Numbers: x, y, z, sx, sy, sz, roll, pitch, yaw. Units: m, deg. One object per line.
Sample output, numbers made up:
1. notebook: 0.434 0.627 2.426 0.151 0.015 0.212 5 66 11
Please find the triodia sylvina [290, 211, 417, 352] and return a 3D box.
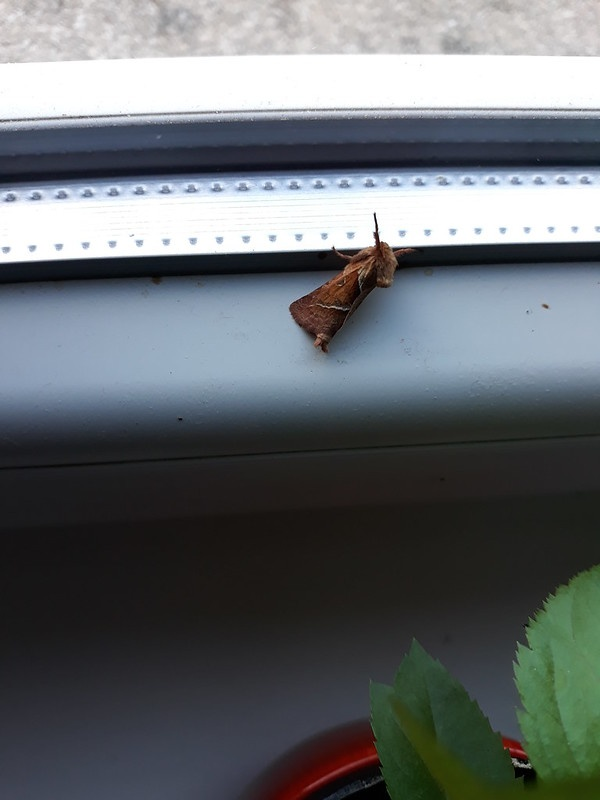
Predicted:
1. triodia sylvina: 0.055 -0.133 1.081 0.193 0.055 0.101 -40 66 3
